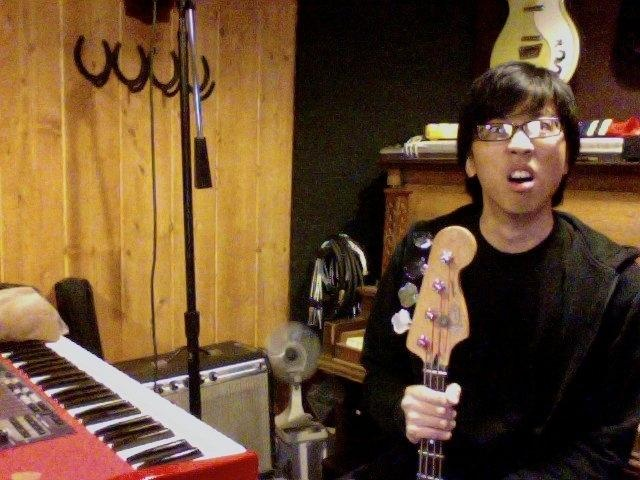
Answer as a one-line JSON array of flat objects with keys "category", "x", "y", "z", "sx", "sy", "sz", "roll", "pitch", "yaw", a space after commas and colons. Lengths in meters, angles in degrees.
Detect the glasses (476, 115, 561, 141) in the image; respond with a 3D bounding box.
[{"category": "glasses", "x": 0.670, "y": -0.375, "z": 1.953, "sx": 0.270, "sy": 0.082, "sz": 0.092, "roll": 2, "pitch": 11, "yaw": 19}]
